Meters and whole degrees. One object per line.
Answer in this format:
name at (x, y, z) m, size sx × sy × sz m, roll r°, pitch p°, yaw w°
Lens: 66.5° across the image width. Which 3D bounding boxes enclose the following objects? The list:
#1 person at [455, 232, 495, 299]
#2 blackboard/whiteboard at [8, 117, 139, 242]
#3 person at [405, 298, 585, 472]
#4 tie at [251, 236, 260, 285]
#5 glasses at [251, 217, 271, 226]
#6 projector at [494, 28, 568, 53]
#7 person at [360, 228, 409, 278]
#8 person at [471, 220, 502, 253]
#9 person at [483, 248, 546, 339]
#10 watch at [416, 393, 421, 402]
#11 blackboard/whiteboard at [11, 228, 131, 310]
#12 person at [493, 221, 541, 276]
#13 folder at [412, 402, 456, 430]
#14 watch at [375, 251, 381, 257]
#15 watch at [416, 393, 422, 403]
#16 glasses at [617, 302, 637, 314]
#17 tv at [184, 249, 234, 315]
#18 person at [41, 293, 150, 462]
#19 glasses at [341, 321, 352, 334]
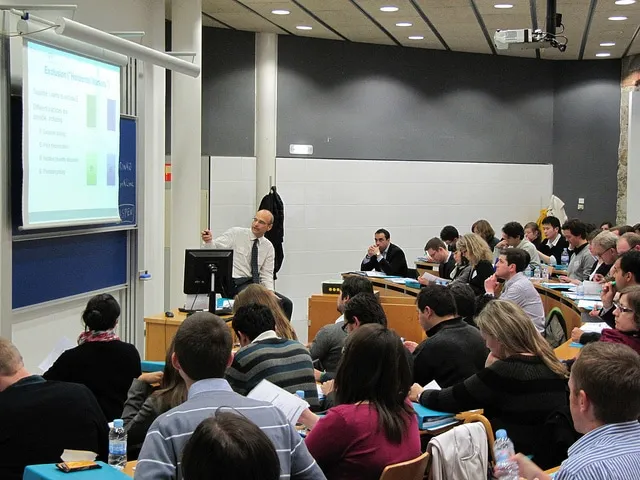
person at (1.931, 0.390, 6.056) m, size 0.358 × 1.112 × 0.463 m, roll -9°, pitch 27°, yaw 8°
blackboard/whiteboard at (-2.243, -0.716, 4.645) m, size 0.050 × 1.062 × 1.407 m, roll 5°, pitch 8°, yaw 17°
person at (1.171, 0.753, 2.997) m, size 0.584 × 1.322 × 0.840 m, roll -4°, pitch -2°, yaw -39°
tie at (-0.782, 0.239, 5.860) m, size 0.092 × 0.501 × 0.172 m, roll 0°, pitch 5°, yaw -9°
glasses at (-0.692, -0.227, 5.861) m, size 0.224 × 0.104 × 0.115 m, roll 1°, pitch 5°, yaw -9°
projector at (2.724, -2.634, 6.429) m, size 0.859 × 0.335 × 0.353 m, roll 2°, pitch 5°, yaw 12°
person at (0.970, 0.180, 7.459) m, size 0.696 × 0.706 × 0.426 m, roll 2°, pitch 5°, yaw 10°
person at (2.532, 0.064, 7.462) m, size 0.438 × 0.758 × 0.344 m, roll 2°, pitch 11°, yaw 34°
person at (2.004, 0.769, 5.182) m, size 0.624 × 1.317 × 0.524 m, roll 0°, pitch -6°, yaw 8°
watch at (0.567, 0.894, 2.790) m, size 0.009 × 0.039 × 0.037 m, roll 21°, pitch 16°, yaw 2°
blackboard/whiteboard at (-2.400, 0.268, 4.607) m, size 1.360 × 0.544 × 0.023 m, roll -9°, pitch 1°, yaw 15°
person at (2.883, 0.309, 7.144) m, size 0.571 × 1.140 × 0.541 m, roll -5°, pitch 1°, yaw -10°
folder at (0.596, 0.956, 2.650) m, size 0.230 × 0.061 × 0.242 m, roll -1°, pitch 3°, yaw -34°
watch at (0.875, 0.209, 7.375) m, size 0.071 × 0.076 × 0.067 m, roll 3°, pitch 10°, yaw 6°
watch at (0.557, 0.896, 2.794) m, size 0.039 × 0.043 × 0.042 m, roll 1°, pitch 5°, yaw -8°
glasses at (1.918, 0.424, 3.097) m, size 0.060 × 0.054 × 0.153 m, roll 1°, pitch 5°, yaw -1°
tv at (-1.061, 0.380, 4.615) m, size 0.524 × 0.828 × 0.302 m, roll 0°, pitch 12°, yaw -13°
person at (-1.289, 0.705, 2.897) m, size 0.524 × 1.270 × 0.675 m, roll -1°, pitch 8°, yaw -26°
glasses at (0.187, 0.645, 3.656) m, size 0.033 × 0.119 × 0.107 m, roll -8°, pitch -3°, yaw -4°
